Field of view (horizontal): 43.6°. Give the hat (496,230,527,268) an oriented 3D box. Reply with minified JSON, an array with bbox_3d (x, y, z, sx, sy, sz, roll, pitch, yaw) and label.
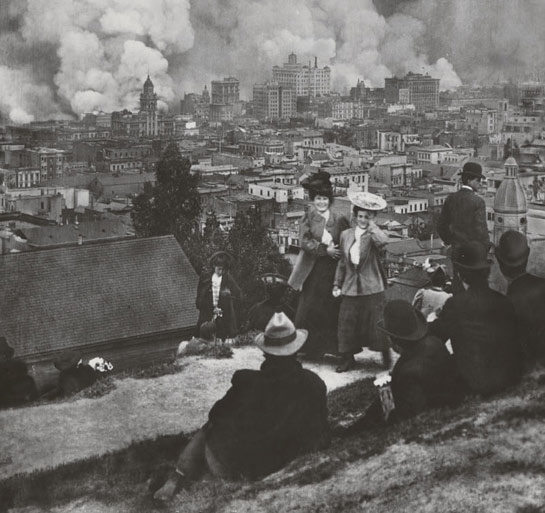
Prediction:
[{"bbox_3d":[1.261,-0.020,3.528,0.124,0.219,0.073,-2,-3,4],"label":"hat"}]

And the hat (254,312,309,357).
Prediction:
[{"bbox_3d":[0.056,0.380,3.318,0.272,0.218,0.186,-3,5,-12],"label":"hat"}]

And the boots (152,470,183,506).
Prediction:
[{"bbox_3d":[-0.498,1.097,3.242,0.162,0.090,0.065,-42,0,-21],"label":"boots"}]

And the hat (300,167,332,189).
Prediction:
[{"bbox_3d":[0.222,-0.394,3.447,0.159,0.090,0.194,-1,5,5],"label":"hat"}]

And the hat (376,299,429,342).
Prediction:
[{"bbox_3d":[0.659,0.312,3.277,0.295,0.226,0.122,-6,6,-38],"label":"hat"}]
